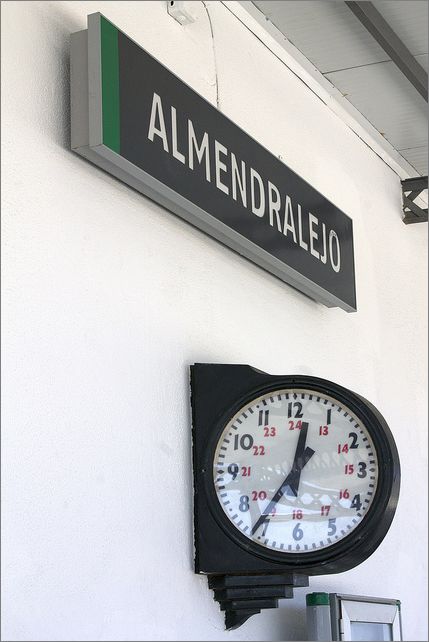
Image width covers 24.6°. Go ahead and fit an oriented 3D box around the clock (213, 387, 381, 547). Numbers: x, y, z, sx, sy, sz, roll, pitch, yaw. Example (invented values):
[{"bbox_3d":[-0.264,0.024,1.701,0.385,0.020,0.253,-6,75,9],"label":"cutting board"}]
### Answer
[{"bbox_3d":[0.158,0.299,1.963,0.344,0.416,0.037,-1,-41,4],"label":"clock"}]
